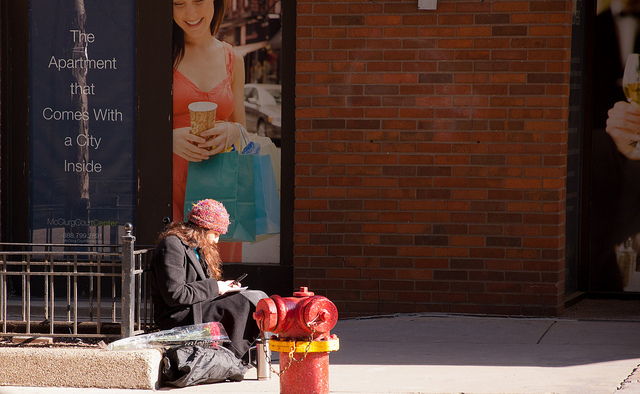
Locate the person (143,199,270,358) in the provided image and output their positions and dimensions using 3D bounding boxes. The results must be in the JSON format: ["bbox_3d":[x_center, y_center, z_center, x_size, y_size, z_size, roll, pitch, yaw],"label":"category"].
[{"bbox_3d":[-1.385,0.954,12.234,1.227,1.859,0.372,-1,-1,-9],"label":"person"}]

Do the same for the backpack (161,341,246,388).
[{"bbox_3d":[-1.350,1.942,11.951,0.806,0.323,0.486,-2,33,-34],"label":"backpack"}]

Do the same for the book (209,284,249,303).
[{"bbox_3d":[-1.097,1.141,12.216,0.542,0.054,0.410,-18,-1,25],"label":"book"}]
